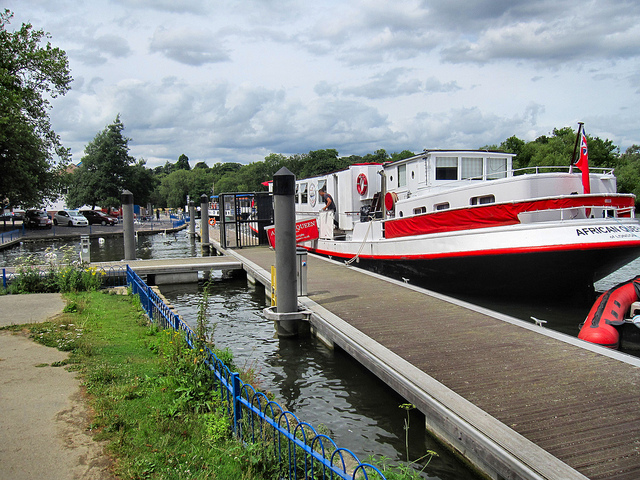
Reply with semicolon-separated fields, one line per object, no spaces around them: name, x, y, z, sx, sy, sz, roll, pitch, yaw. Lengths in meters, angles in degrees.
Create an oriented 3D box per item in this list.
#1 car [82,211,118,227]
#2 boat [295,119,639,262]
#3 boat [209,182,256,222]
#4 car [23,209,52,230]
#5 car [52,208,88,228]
car;-22.830;-2.338;48.660;3.336;1.379;1.830;0;3;15
boat;3.888;-1.025;18.503;5.656;4.262;15.758;1;3;-23
boat;-8.241;-2.697;45.243;1.991;2.619;8.732;-1;-1;-25
car;-26.266;-1.999;43.460;2.896;1.770;1.902;4;14;15
car;-25.251;-2.645;47.372;2.751;1.447;9.315;-6;15;-27
